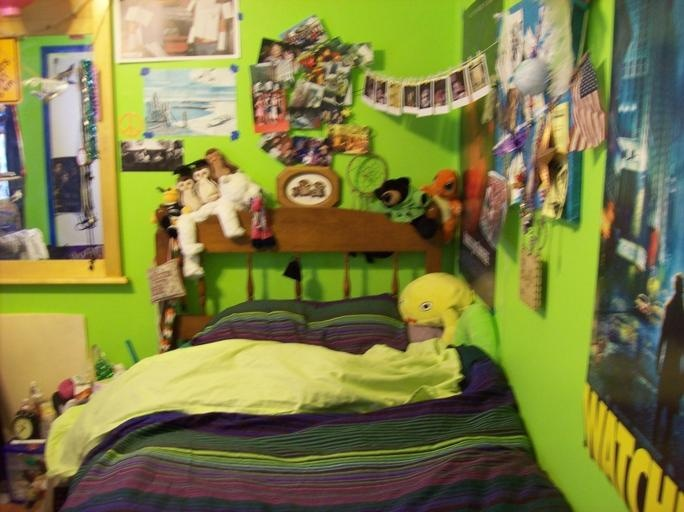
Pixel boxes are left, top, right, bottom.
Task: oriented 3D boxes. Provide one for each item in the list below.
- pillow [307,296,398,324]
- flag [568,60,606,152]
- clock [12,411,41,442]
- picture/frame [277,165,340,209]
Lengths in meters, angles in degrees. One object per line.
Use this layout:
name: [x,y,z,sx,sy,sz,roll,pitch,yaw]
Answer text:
pillow: [0.062,0.231,2.479,0.245,0.042,0.167,-3,12,1]
flag: [0.653,-0.410,1.482,0.047,0.244,0.136,-2,3,-3]
clock: [-1.451,0.788,2.565,0.121,0.118,0.129,8,12,-3]
picture/frame: [-0.163,-0.347,2.759,0.317,0.203,0.050,-2,3,0]
